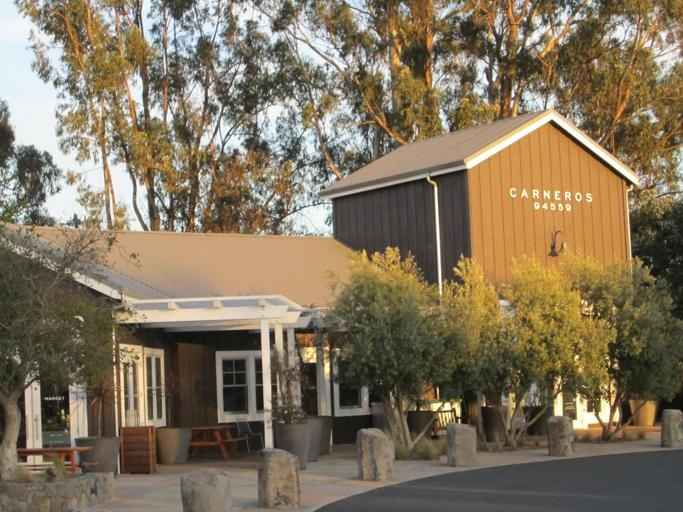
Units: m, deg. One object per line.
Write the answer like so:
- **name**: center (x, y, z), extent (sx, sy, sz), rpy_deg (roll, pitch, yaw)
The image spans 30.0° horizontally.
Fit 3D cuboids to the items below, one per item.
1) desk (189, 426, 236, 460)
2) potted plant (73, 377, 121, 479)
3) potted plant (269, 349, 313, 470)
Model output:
- **desk**: center (-3.886, 5.612, 38.387), extent (1.330, 1.377, 3.086), rpy_deg (-1, -14, -8)
- **potted plant**: center (-6.357, 4.540, 33.362), extent (1.024, 2.365, 1.784), rpy_deg (-3, -12, 2)
- **potted plant**: center (-1.342, 4.151, 34.725), extent (1.064, 3.345, 1.056), rpy_deg (-2, -10, -2)
